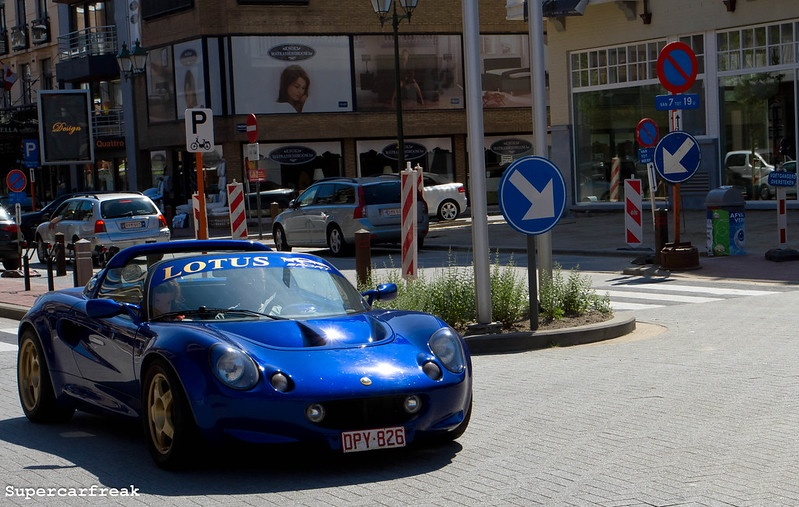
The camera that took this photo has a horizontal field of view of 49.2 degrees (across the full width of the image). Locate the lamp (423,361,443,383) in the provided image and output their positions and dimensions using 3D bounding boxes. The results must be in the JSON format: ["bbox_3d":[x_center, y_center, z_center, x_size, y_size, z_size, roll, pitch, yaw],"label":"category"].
[{"bbox_3d":[0.281,0.993,7.401,0.186,0.147,0.123,-3,2,-21],"label":"lamp"}]

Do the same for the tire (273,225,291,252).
[{"bbox_3d":[-3.516,-0.473,26.403,0.251,0.833,0.781,-3,4,-20],"label":"tire"}]

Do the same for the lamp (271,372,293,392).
[{"bbox_3d":[-0.946,1.032,7.022,0.176,0.142,0.095,-2,2,-2],"label":"lamp"}]

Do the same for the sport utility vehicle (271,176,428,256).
[{"bbox_3d":[-1.883,-1.142,26.007,2.140,1.714,4.474,-2,5,-34],"label":"sport utility vehicle"}]

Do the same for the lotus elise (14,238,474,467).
[{"bbox_3d":[-1.818,0.914,9.236,3.019,2.019,5.517,0,-1,-39],"label":"lotus elise"}]

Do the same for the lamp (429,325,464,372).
[{"bbox_3d":[0.420,0.852,7.659,0.243,0.369,0.103,-10,-15,-28],"label":"lamp"}]

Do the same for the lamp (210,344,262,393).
[{"bbox_3d":[-1.341,0.923,7.055,0.277,0.386,0.151,-44,1,-15],"label":"lamp"}]

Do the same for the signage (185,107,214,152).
[{"bbox_3d":[-3.731,-2.304,16.341,0.491,0.829,0.078,-2,7,-2],"label":"signage"}]

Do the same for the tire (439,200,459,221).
[{"bbox_3d":[1.948,-1.763,34.918,0.712,0.776,0.261,-6,5,-31],"label":"tire"}]

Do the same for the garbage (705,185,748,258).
[{"bbox_3d":[7.203,-0.721,19.229,0.581,1.552,0.746,-5,3,-13],"label":"garbage"}]
